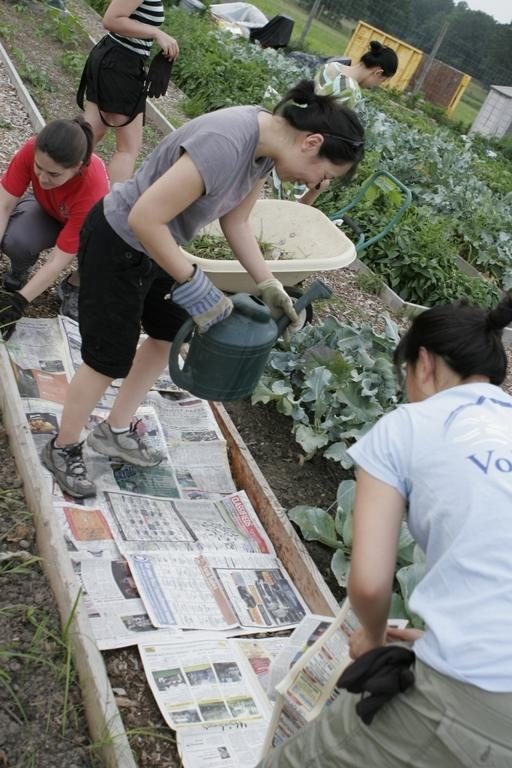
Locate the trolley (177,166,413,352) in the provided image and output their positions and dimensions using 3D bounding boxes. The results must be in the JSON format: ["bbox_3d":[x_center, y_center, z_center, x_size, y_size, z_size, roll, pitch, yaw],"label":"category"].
[{"bbox_3d":[0.181,-0.834,3.642,1.161,0.767,0.711,-13,48,-31],"label":"trolley"}]

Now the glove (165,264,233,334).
[{"bbox_3d":[-0.161,-0.238,1.778,0.181,0.150,0.072,47,9,-27],"label":"glove"}]

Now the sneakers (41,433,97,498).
[{"bbox_3d":[-0.663,0.292,2.219,0.223,0.113,0.082,50,36,13],"label":"sneakers"}]
